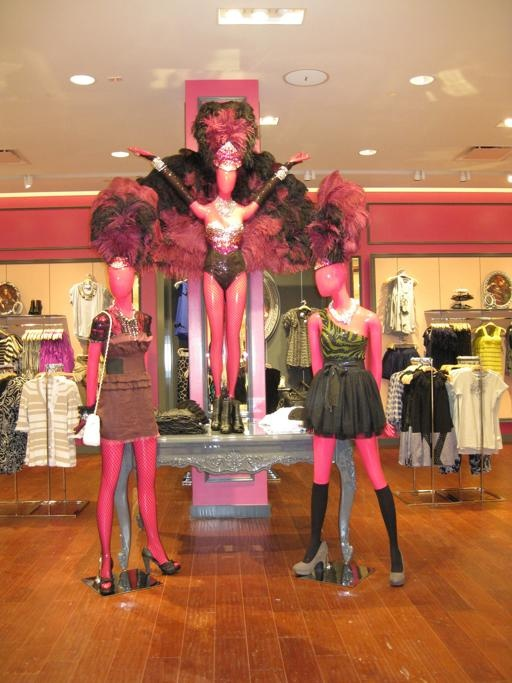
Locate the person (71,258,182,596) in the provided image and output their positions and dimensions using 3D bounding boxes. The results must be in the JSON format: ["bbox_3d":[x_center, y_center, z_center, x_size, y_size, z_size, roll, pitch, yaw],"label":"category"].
[{"bbox_3d":[-0.619,0.397,2.542,0.246,1.537,0.528,-2,-6,16],"label":"person"}]

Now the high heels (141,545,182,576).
[{"bbox_3d":[-0.474,1.133,2.765,0.275,0.175,0.090,0,-3,-2],"label":"high heels"}]

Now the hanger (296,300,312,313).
[{"bbox_3d":[0.505,-0.374,5.696,0.174,0.097,0.016,-1,-11,40],"label":"hanger"}]

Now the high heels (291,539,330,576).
[{"bbox_3d":[0.279,1.089,2.654,0.272,0.176,0.092,12,-17,-42],"label":"high heels"}]

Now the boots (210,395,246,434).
[{"bbox_3d":[-0.158,0.394,2.860,0.132,0.174,0.395,0,-11,-3],"label":"boots"}]

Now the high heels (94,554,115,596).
[{"bbox_3d":[-0.715,1.106,2.485,0.076,0.077,0.201,2,-12,-11],"label":"high heels"}]

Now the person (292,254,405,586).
[{"bbox_3d":[0.440,0.384,2.602,0.547,1.545,0.414,-1,-5,4],"label":"person"}]

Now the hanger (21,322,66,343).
[{"bbox_3d":[-2.465,-0.108,6.059,0.464,0.220,0.438,1,-5,-18],"label":"hanger"}]

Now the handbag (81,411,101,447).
[{"bbox_3d":[-0.726,0.383,2.300,0.083,0.141,0.036,-6,-14,15],"label":"handbag"}]

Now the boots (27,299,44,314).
[{"bbox_3d":[-2.636,-0.393,6.235,0.138,0.155,0.173,0,5,-30],"label":"boots"}]
